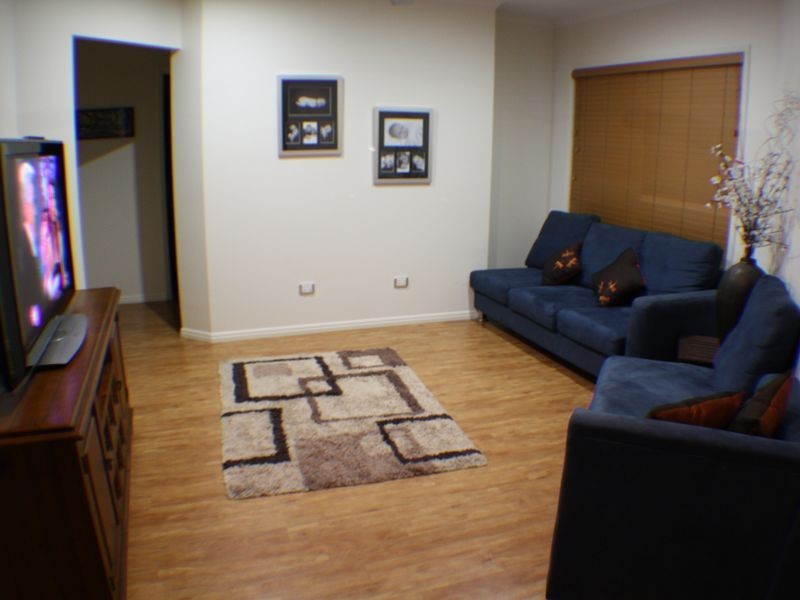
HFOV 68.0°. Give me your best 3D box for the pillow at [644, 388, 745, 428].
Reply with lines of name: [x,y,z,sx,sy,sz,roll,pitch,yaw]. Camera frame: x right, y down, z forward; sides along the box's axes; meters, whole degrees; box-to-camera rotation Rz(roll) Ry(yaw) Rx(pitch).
pillow: [1.244,0.460,2.466,0.215,0.070,0.222,-7,2,37]

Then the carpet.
carpet: [-0.433,0.731,4.022,1.487,0.103,1.812,-3,16,-16]

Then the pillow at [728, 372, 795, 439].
pillow: [1.577,0.447,2.546,0.418,0.173,0.144,-38,16,-32]

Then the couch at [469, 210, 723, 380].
couch: [1.516,-0.077,4.935,0.974,1.077,2.204,-6,17,-19]

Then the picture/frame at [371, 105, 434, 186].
picture/frame: [-0.003,-1.419,5.312,0.663,0.812,0.056,-2,14,-13]
